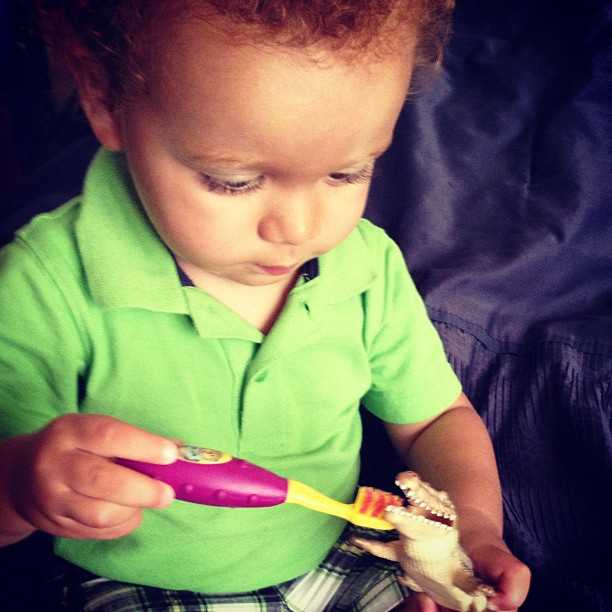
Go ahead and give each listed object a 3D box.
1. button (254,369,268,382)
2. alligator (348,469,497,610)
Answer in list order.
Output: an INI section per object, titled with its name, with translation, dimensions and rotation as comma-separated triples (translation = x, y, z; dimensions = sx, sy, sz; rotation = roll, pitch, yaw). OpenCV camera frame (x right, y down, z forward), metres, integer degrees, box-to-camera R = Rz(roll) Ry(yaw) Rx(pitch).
[button]
translation = -0.058, 0.092, 0.873
dimensions = 0.019, 0.016, 0.017
rotation = -3, 36, -8
[alligator]
translation = 0.147, 0.266, 0.817
dimensions = 0.167, 0.203, 0.066
rotation = -7, 50, 36
